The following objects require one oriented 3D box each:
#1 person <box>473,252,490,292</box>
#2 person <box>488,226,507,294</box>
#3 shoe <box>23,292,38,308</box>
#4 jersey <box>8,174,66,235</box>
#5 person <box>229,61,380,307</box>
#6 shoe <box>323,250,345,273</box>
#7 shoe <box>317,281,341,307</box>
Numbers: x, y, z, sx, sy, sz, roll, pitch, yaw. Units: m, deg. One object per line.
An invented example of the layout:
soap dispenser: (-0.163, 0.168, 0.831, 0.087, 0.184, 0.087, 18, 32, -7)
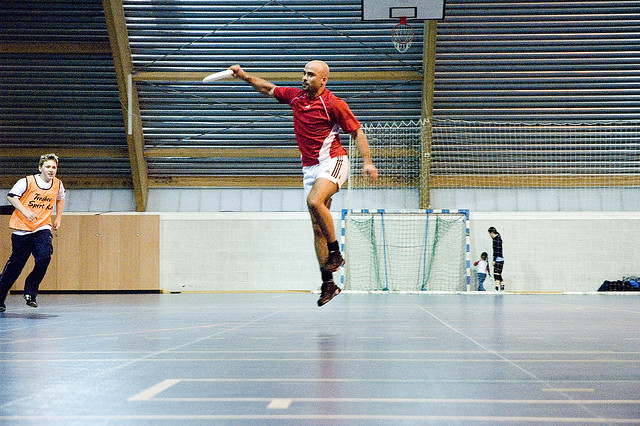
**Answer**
person: (3.770, 1.370, 20.461, 0.352, 0.903, 0.612, 1, 2, 10)
person: (4.134, 1.082, 20.408, 0.433, 1.499, 0.728, 1, 2, 11)
shoe: (-4.720, 1.409, 14.234, 0.190, 0.276, 0.311, -1, 2, -18)
jersey: (-4.572, -0.142, 14.191, 0.898, 0.954, 0.337, -2, 3, -42)
person: (-0.060, -0.446, 13.068, 1.824, 3.697, 0.727, 1, 2, 9)
shoe: (0.189, 0.705, 12.914, 0.293, 0.325, 0.237, 0, 2, 1)
shoe: (0.092, 1.159, 12.815, 0.406, 0.311, 0.197, -1, 3, -37)
